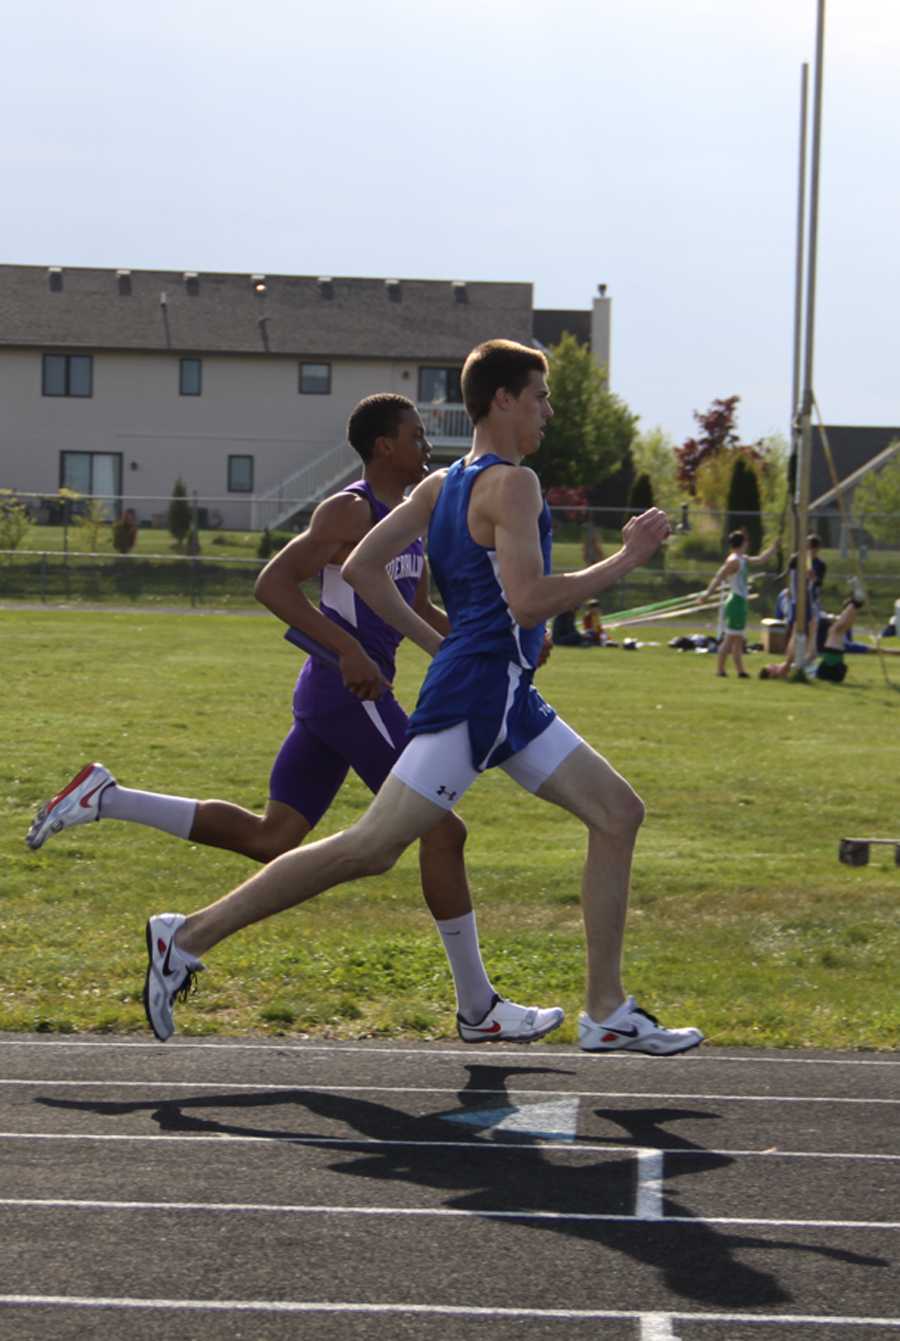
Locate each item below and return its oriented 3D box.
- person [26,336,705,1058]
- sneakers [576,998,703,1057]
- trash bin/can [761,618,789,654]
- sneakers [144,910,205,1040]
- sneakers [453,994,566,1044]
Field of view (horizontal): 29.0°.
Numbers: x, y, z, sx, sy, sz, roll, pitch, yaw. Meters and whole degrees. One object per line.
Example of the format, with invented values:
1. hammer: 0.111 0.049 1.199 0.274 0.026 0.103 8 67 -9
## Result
1. person: -0.053 0.090 4.958 1.376 2.056 0.777 1 3 29
2. sneakers: 0.516 1.015 4.899 0.436 0.193 0.143 1 -12 -6
3. trash bin/can: 4.548 -0.488 24.675 0.445 0.527 0.429 -1 -1 -2
4. sneakers: -0.814 0.866 5.095 0.201 0.399 0.138 -7 5 2
5. sneakers: 0.187 1.055 5.228 0.363 0.166 0.124 -6 0 5
